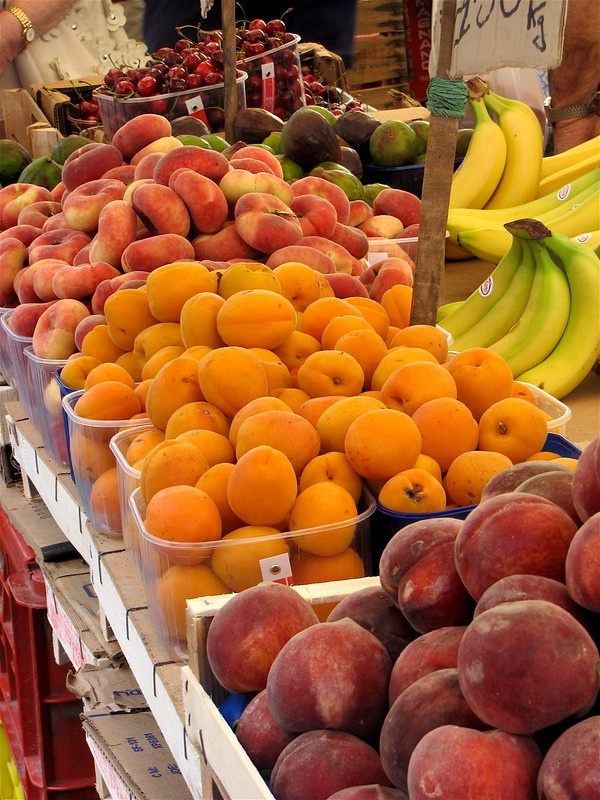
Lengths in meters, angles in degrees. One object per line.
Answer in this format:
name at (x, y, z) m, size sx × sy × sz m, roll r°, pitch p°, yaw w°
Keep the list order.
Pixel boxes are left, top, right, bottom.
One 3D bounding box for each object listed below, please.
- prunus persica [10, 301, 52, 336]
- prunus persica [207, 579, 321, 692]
prunus persica at (-0.729, -0.215, 1.748) m, size 0.115 × 0.062 × 0.086 m, roll -9°, pitch -4°, yaw 22°
prunus persica at (-0.035, 0.227, 0.627) m, size 0.117 × 0.102 × 0.098 m, roll -6°, pitch 68°, yaw 5°
